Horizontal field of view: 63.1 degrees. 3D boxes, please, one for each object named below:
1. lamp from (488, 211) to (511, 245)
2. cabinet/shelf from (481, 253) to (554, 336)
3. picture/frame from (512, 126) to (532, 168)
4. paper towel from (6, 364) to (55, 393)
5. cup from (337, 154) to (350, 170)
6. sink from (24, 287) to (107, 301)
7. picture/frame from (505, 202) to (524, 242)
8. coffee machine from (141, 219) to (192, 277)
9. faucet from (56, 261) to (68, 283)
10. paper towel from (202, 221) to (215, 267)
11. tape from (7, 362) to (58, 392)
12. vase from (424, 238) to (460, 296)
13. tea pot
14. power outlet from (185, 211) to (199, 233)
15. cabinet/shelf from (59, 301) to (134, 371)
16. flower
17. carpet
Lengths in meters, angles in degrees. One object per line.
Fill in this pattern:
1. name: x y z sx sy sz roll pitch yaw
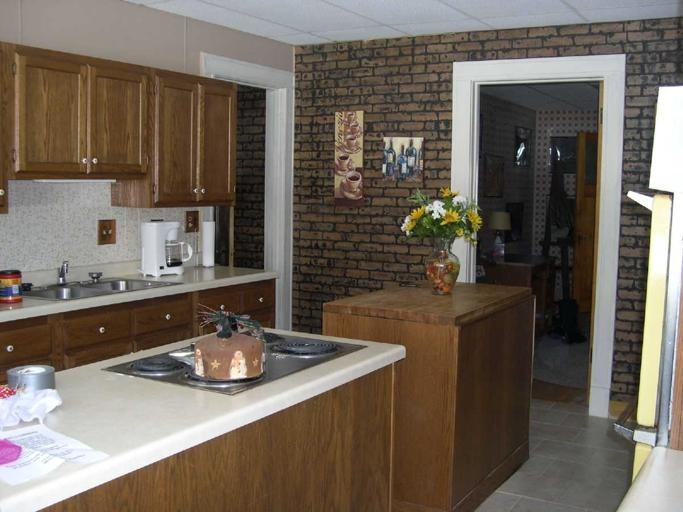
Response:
1. lamp: 2.380 -0.425 8.395 0.282 0.491 0.825 1 6 15
2. cabinet/shelf: 1.841 0.366 5.793 0.607 0.728 1.135 5 7 42
3. picture/frame: 3.020 -1.850 9.361 0.064 0.789 0.821 -2 1 30
4. paper towel: -1.007 0.396 1.803 0.131 0.062 0.271 -4 7 -31
5. cup: 0.017 -0.974 5.782 0.112 0.113 0.166 12 25 24
6. sink: -1.953 0.261 3.919 0.507 0.080 0.247 -5 7 -34
7. picture/frame: 2.803 -0.577 9.074 0.105 0.769 0.696 -2 -4 32
8. coffee machine: -1.487 -0.067 4.675 0.242 0.431 0.461 4 6 39
9. faucet: -2.058 0.116 4.103 0.082 0.162 0.167 -4 7 -25
10. paper towel: -1.218 -0.107 5.060 0.101 0.419 0.077 -1 7 -4
11. tape: -1.005 0.385 1.781 0.111 0.044 0.108 3 4 9
12. vase: 0.655 0.049 3.683 0.249 0.386 0.235 3 8 16
13. tea pot: -0.419 0.323 2.066 0.262 0.259 0.261 -1 -3 0
14. power outlet: -1.381 -0.317 5.095 0.026 0.168 0.190 3 12 25
15. cabinet/shelf: -1.672 0.523 3.677 0.320 0.422 0.469 -1 0 36
16. flower: 0.668 -0.185 3.676 0.462 0.401 0.463 5 -8 32
17. carpet: 2.653 1.144 6.656 0.846 1.386 0.021 4 50 24
